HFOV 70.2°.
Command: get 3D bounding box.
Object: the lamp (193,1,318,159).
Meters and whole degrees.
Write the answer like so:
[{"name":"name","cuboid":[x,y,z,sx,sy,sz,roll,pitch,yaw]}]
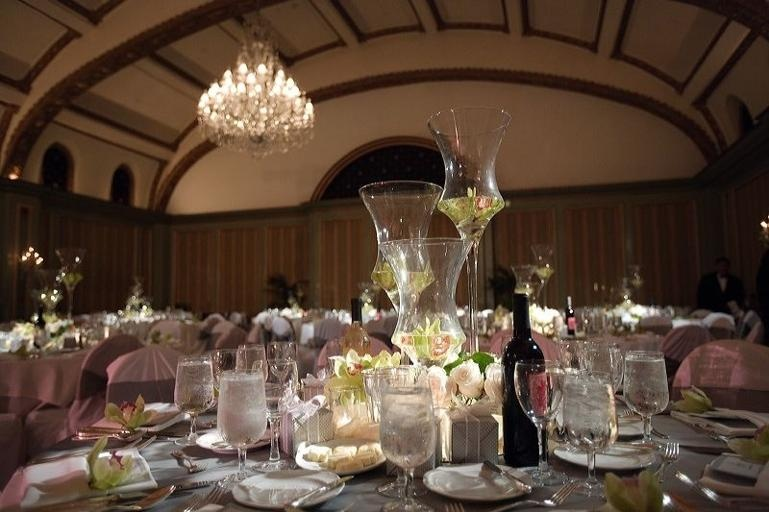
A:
[{"name":"lamp","cuboid":[-1.537,-2.051,7.011,1.457,2.527,1.655,0,-2,-4]}]
